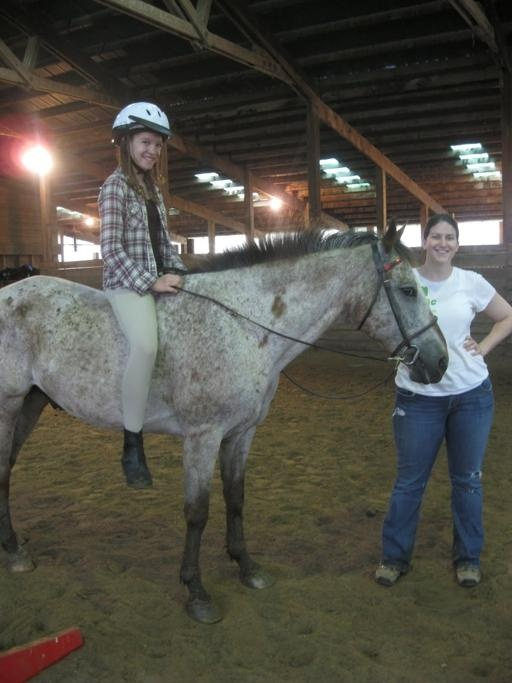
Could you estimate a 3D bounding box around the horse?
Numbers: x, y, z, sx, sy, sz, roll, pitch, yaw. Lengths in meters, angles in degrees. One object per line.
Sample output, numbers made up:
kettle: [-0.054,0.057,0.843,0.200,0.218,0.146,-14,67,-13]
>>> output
horse: [-0.261,0.361,2.755,2.300,1.782,0.739,0,8,15]

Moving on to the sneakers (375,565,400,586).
sneakers: [0.667,1.181,2.802,0.083,0.042,0.125,3,-1,18]

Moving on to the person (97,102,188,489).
person: [-0.523,-0.240,2.676,0.361,1.792,0.591,0,8,15]

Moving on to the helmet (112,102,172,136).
helmet: [-0.539,-1.066,2.607,0.245,0.105,0.182,-2,0,43]
